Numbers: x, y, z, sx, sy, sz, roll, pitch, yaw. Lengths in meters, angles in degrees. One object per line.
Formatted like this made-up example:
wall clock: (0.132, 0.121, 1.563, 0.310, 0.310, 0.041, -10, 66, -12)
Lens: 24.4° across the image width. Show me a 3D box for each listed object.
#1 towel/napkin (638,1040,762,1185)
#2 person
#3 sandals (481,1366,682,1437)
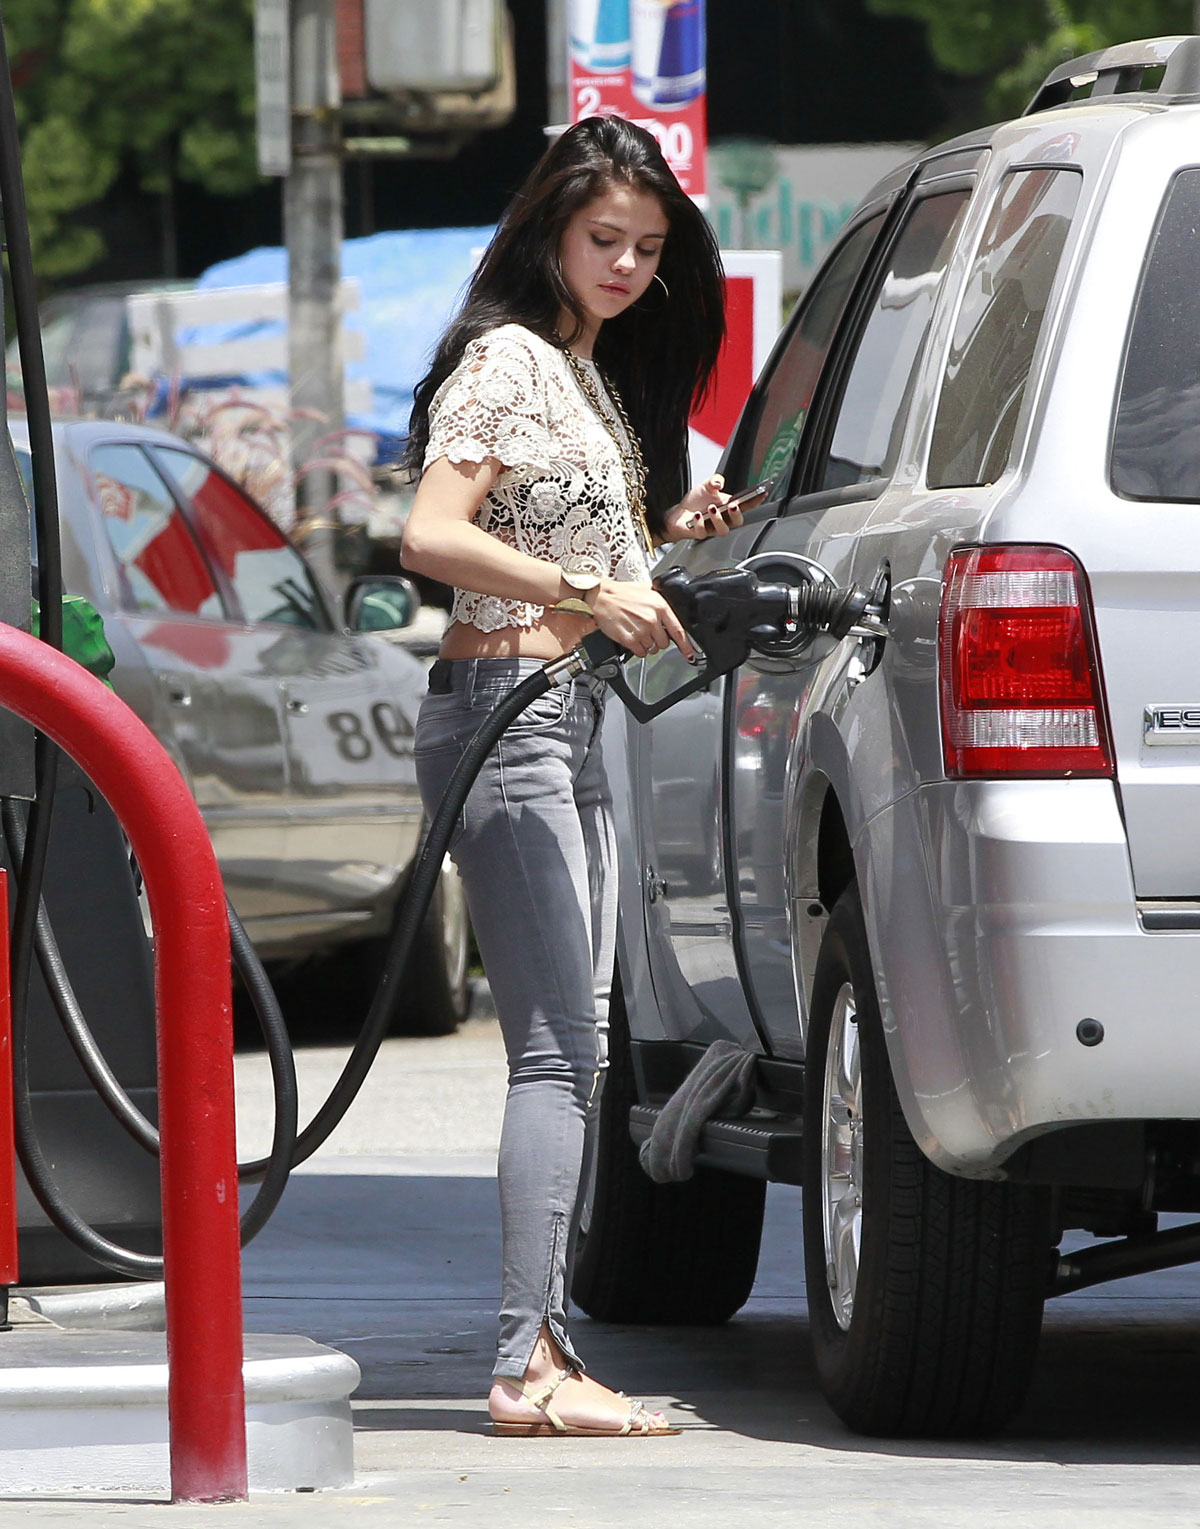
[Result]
towel/napkin: (0.168, 0.541, 4.510, 0.150, 0.061, 0.246, -9, 39, 54)
person: (-0.070, 0.019, 3.974, 0.457, 1.798, 0.584, -1, 0, 22)
sandals: (-0.030, 0.882, 3.890, 0.260, 0.107, 0.093, -1, -4, -10)
